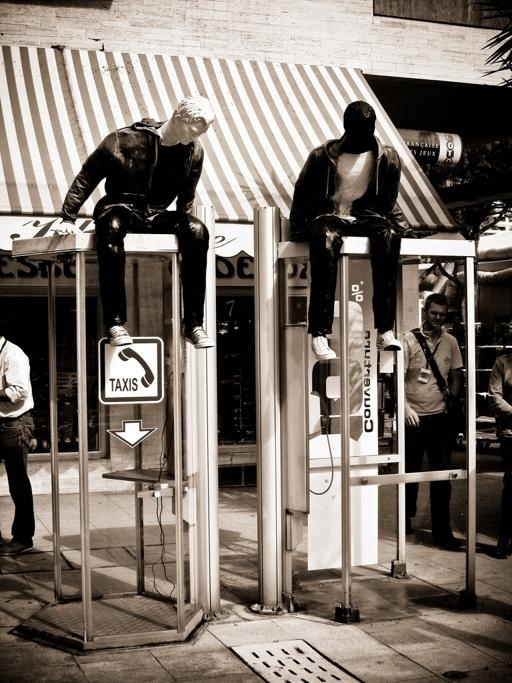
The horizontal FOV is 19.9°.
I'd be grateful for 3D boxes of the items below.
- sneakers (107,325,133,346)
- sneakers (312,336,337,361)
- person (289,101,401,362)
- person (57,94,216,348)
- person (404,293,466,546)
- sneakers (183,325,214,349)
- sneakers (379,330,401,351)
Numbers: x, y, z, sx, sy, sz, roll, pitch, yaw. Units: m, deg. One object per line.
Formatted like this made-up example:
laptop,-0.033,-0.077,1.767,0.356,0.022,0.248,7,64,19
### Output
sneakers,-0.802,-0.028,8.497,0.113,0.124,0.240,-4,9,-32
sneakers,0.401,0.041,8.913,0.138,0.141,0.172,0,7,2
person,0.537,-0.690,9.049,0.706,1.573,0.615,1,6,6
person,-0.688,-0.694,8.600,0.854,1.477,0.519,-1,6,-9
person,1.306,0.606,10.952,0.453,1.918,0.661,1,6,7
sneakers,-0.352,-0.019,8.756,0.077,0.099,0.226,-11,9,-19
sneakers,0.811,0.004,9.045,0.136,0.125,0.162,1,7,6
